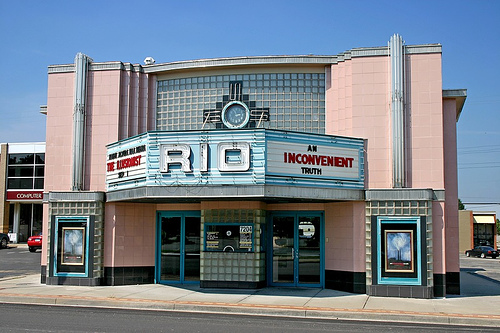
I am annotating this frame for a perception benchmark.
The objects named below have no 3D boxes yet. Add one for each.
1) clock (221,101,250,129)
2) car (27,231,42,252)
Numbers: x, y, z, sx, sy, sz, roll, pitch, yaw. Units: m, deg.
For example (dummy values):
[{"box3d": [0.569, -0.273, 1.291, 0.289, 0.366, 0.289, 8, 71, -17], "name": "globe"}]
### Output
[{"box3d": [-0.754, -2.556, 32.583, 1.716, 1.576, 0.224, 0, -3, 5], "name": "clock"}, {"box3d": [-17.329, 6.122, 51.708, 0.890, 1.387, 1.990, 6, -11, -33], "name": "car"}]
